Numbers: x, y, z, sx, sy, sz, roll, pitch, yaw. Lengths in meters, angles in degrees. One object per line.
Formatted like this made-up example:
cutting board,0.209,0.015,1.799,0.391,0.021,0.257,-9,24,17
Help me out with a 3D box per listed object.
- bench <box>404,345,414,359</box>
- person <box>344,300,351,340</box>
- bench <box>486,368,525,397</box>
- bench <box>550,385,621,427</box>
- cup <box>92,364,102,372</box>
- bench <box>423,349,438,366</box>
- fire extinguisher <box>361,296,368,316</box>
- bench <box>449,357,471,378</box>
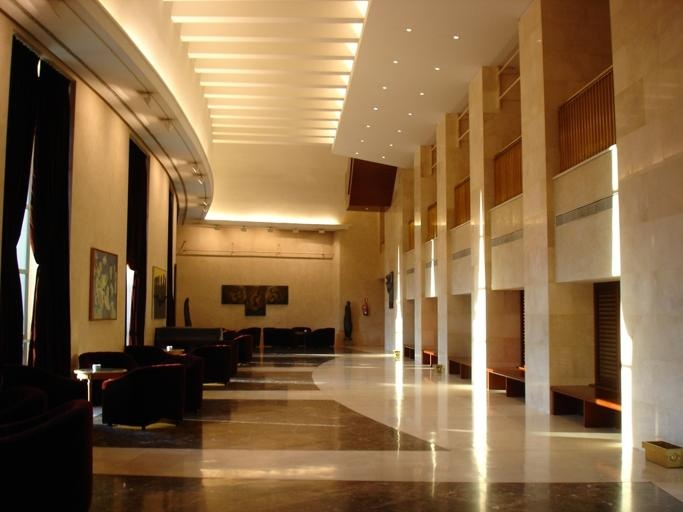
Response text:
bench,2.453,3.424,20.393,0.298,0.380,0.569,2,-5,-6
person,0.313,2.960,26.344,0.408,1.820,0.354,2,-9,-2
bench,3.519,2.620,11.796,0.604,0.558,1.459,1,-9,3
bench,3.998,2.380,9.054,0.810,0.617,1.525,1,-9,3
cup,-4.123,1.860,9.486,0.126,0.130,0.072,-2,-5,4
bench,2.712,3.071,17.230,0.379,0.772,0.396,2,-4,-4
fire extinguisher,1.149,2.371,26.660,0.379,0.837,0.225,3,-9,-6
bench,3.063,2.836,14.465,0.415,0.485,1.267,2,-9,1
